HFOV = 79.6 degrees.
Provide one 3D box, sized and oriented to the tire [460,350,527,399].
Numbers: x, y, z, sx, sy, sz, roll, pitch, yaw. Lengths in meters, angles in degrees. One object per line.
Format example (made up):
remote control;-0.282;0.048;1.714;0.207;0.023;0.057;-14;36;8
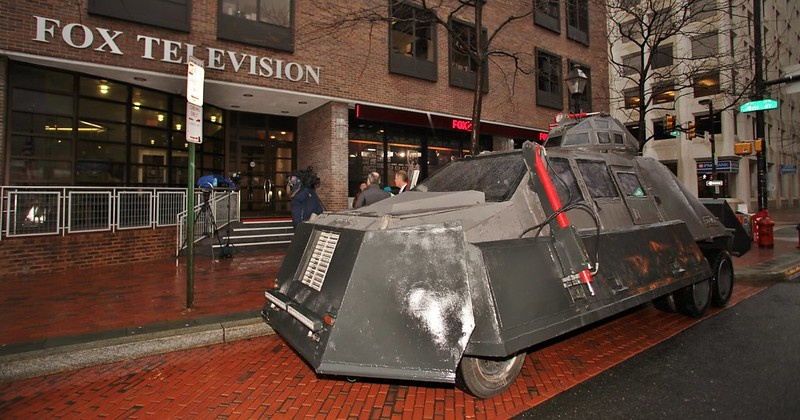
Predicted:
tire;2.363;3.915;12.261;1.503;1.528;0.504;-14;19;-3

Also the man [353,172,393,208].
man;-1.005;-0.580;17.416;1.511;1.560;0.931;-7;24;-39

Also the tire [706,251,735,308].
tire;10.081;2.173;15.237;1.906;1.885;0.601;1;-1;-37

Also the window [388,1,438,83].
window;0.584;-8.531;24.344;3.943;4.098;0.188;12;-22;-37

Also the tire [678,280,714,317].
tire;8.794;2.606;14.275;1.190;1.190;0.446;-4;2;-35
